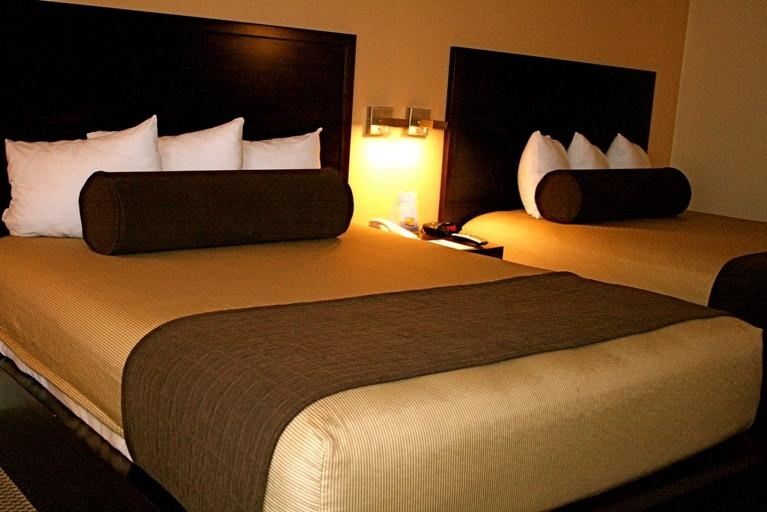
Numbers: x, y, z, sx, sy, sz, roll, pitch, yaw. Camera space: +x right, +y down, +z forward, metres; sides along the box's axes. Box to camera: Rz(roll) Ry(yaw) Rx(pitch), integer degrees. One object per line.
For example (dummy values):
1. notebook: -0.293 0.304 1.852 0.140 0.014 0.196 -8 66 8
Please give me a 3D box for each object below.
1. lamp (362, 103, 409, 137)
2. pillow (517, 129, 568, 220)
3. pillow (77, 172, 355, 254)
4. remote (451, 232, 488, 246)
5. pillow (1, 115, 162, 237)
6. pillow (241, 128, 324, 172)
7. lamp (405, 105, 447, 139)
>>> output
1. lamp: 0.017 -0.957 3.877 0.311 0.209 0.104 -10 19 -31
2. pillow: 1.204 -0.610 4.151 0.391 0.669 0.843 1 1 22
3. pillow: -0.773 -0.241 2.847 1.382 0.401 0.439 -6 10 -34
4. remote: 0.594 -0.132 3.768 0.185 0.042 0.094 14 14 42
5. pillow: -1.482 -0.369 2.634 0.667 0.478 0.230 -6 7 -13
6. pillow: -0.630 -0.636 3.288 0.413 0.236 0.129 -9 -4 -30
7. lamp: 0.309 -0.961 3.946 0.267 0.173 0.237 -6 14 -29
